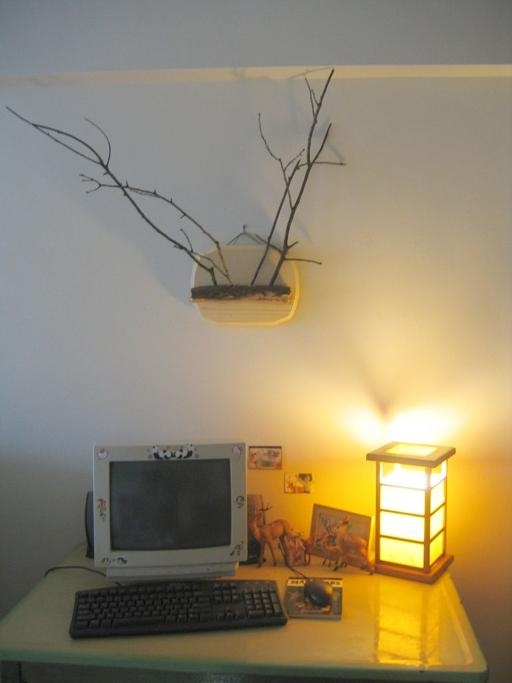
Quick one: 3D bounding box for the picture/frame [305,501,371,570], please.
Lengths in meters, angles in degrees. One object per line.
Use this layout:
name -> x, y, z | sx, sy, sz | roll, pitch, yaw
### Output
picture/frame -> 0.216, 0.513, 1.614 | 0.128, 0.119, 0.048 | 2, -21, 23

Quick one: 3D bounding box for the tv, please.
tv -> -0.177, 0.391, 1.623 | 0.496, 0.442, 0.282 | -1, -7, -1

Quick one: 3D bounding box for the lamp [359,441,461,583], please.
lamp -> 0.384, 0.416, 1.647 | 0.259, 0.427, 0.291 | 0, 1, 34

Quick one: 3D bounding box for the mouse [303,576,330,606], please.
mouse -> 0.131, 0.558, 1.376 | 0.038, 0.051, 0.042 | 6, -49, -20
